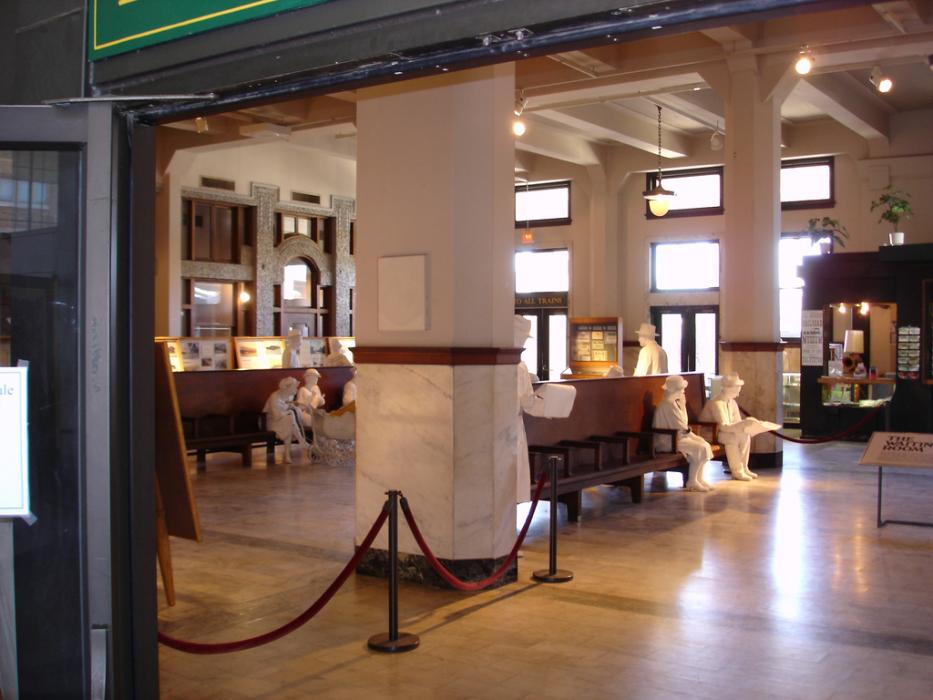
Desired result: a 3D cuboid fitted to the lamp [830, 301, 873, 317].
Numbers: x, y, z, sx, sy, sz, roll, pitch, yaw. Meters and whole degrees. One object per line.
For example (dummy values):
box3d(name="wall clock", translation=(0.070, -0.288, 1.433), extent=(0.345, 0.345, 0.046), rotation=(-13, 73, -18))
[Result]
box3d(name="lamp", translation=(7.218, -0.774, 14.494), extent=(0.710, 0.248, 0.395), rotation=(-1, 2, 9))

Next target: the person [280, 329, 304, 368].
box3d(name="person", translation=(-3.245, -0.019, 14.388), extent=(0.338, 0.741, 0.634), rotation=(-1, 8, -14))

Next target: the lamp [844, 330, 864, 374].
box3d(name="lamp", translation=(7.195, 0.024, 14.434), extent=(0.328, 0.775, 0.615), rotation=(0, 2, 26))

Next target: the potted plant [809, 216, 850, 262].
box3d(name="potted plant", translation=(7.746, -2.525, 16.641), extent=(0.757, 0.844, 1.275), rotation=(0, 3, 28))
